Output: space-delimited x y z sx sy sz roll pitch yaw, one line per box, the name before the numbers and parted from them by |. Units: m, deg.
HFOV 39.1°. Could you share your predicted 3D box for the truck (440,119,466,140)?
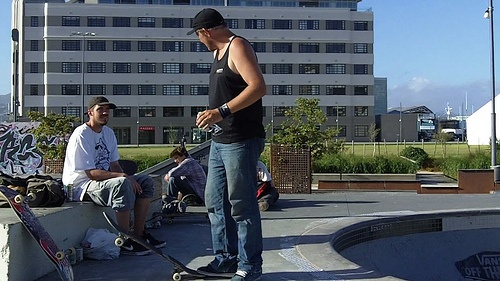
truck | 49.688 -2.885 171.579 8.890 4.724 5.258 -5 7 -42
